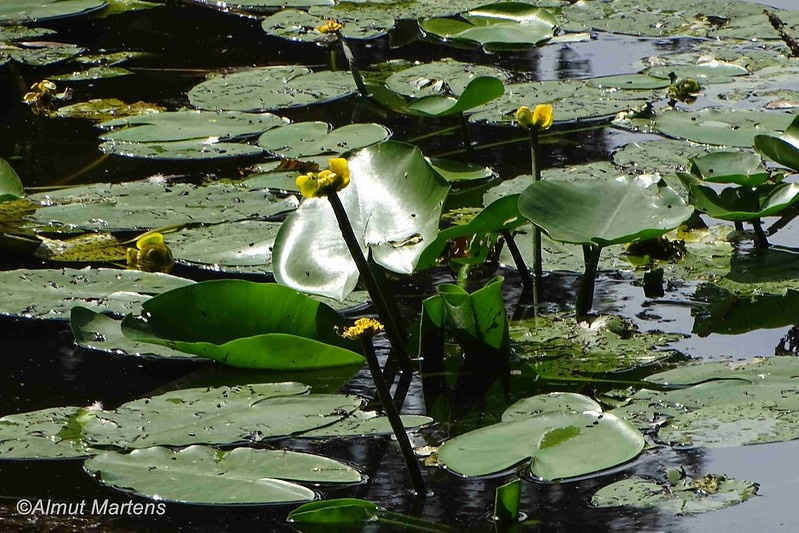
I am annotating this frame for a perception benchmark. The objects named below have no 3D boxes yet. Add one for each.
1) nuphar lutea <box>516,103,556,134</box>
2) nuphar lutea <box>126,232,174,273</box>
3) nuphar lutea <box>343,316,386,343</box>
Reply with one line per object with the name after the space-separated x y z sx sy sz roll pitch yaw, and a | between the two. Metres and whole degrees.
0.376 -0.412 2.821 0.084 0.075 0.162 6 15 10 | nuphar lutea
-0.747 -0.039 3.031 0.191 0.064 0.099 3 48 4 | nuphar lutea
-0.086 0.140 2.301 0.096 0.025 0.084 -9 -11 -16 | nuphar lutea
